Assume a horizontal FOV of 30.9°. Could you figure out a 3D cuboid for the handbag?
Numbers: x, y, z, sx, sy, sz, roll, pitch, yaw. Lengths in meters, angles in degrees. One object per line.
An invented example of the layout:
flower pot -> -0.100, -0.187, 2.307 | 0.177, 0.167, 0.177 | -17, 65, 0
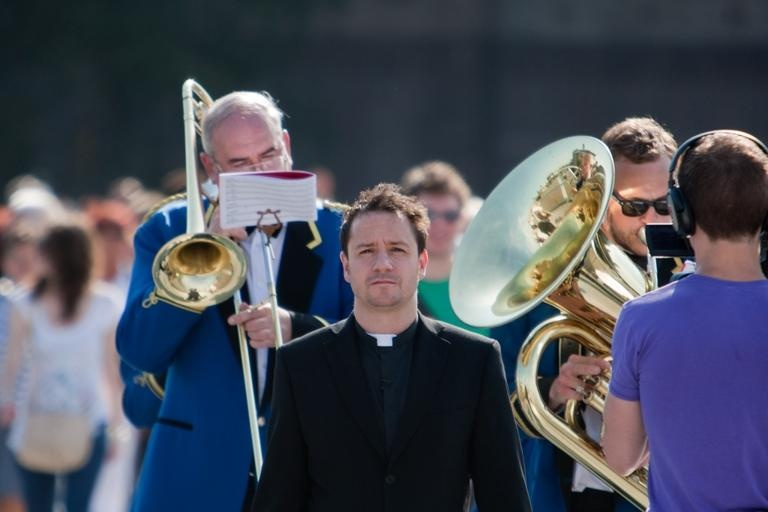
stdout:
handbag -> -2.741, 1.555, 11.557 | 0.565, 0.523, 0.132 | 13, -14, -19
